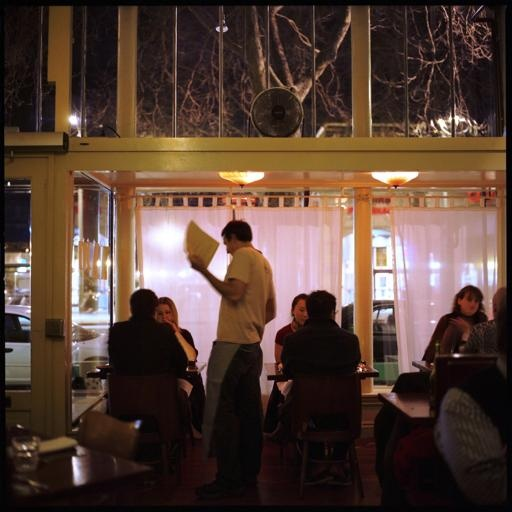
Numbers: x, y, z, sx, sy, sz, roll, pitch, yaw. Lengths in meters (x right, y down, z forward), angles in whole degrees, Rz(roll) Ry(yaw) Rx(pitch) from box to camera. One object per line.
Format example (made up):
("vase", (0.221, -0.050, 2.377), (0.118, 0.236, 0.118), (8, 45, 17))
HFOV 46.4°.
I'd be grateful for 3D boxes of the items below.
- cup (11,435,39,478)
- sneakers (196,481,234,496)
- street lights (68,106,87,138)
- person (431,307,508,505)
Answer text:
("cup", (-1.072, 0.922, 2.767), (0.107, 0.156, 0.124), (1, -10, -8))
("sneakers", (-0.282, 1.568, 4.043), (0.249, 0.103, 0.055), (1, -1, -1))
("street lights", (-1.455, -1.086, 4.877), (0.129, 0.243, 0.204), (1, 3, 19))
("person", (1.229, 0.988, 3.315), (0.332, 0.886, 0.578), (0, -1, 39))
